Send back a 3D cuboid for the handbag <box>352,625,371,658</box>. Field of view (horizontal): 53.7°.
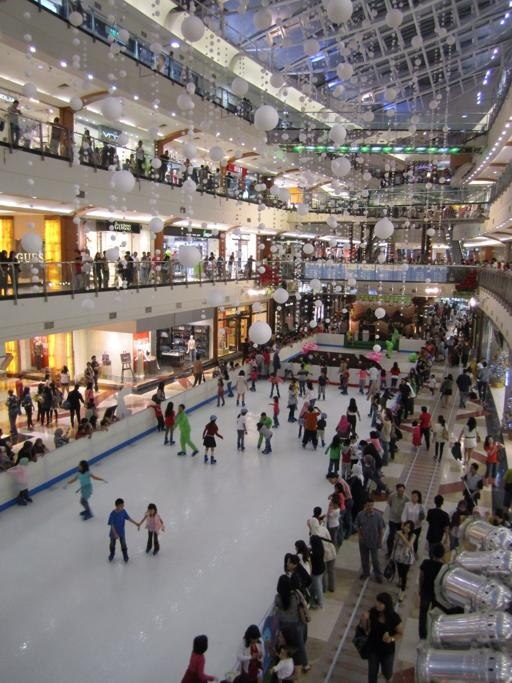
[{"bbox_3d":[0.939,2.658,4.553,0.126,0.357,0.254,-1,6,10],"label":"handbag"}]

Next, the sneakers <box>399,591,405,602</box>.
[{"bbox_3d":[1.804,3.146,6.312,0.042,0.138,0.094,-8,21,-2],"label":"sneakers"}]

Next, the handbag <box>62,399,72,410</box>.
[{"bbox_3d":[-4.561,1.505,12.183,0.161,0.161,0.283,8,19,12],"label":"handbag"}]

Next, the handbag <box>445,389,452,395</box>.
[{"bbox_3d":[5.841,1.514,15.363,0.157,0.165,0.151,3,10,25],"label":"handbag"}]

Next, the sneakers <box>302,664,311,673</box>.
[{"bbox_3d":[0.512,3.246,5.114,0.049,0.058,0.140,3,8,-9],"label":"sneakers"}]

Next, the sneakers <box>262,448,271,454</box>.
[{"bbox_3d":[0.270,2.740,12.789,0.195,0.197,0.103,1,-3,2],"label":"sneakers"}]

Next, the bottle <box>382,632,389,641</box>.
[{"bbox_3d":[1.098,2.480,4.290,0.018,0.062,0.043,4,7,-7],"label":"bottle"}]

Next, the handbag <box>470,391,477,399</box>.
[{"bbox_3d":[7.451,1.830,17.342,0.109,0.218,0.387,10,21,13],"label":"handbag"}]

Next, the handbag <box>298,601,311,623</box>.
[{"bbox_3d":[0.457,2.550,4.846,0.106,0.197,0.050,2,3,21],"label":"handbag"}]
